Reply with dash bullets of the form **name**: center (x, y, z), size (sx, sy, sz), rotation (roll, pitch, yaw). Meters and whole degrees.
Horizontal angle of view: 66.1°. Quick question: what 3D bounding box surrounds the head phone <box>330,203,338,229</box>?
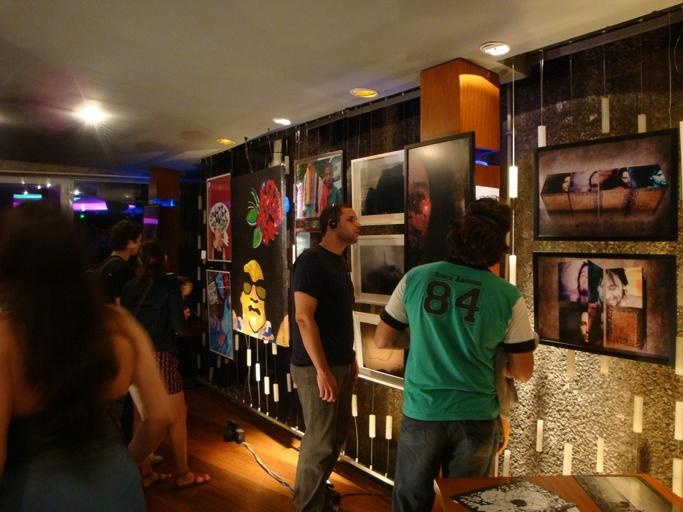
- **head phone**: center (-0.050, -0.251, 3.336), size (0.057, 0.179, 0.133), rotation (2, -6, -2)

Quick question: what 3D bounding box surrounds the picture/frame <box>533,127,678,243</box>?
- **picture/frame**: center (1.391, -0.366, 2.704), size (0.562, 0.459, 0.020), rotation (3, 2, 40)
